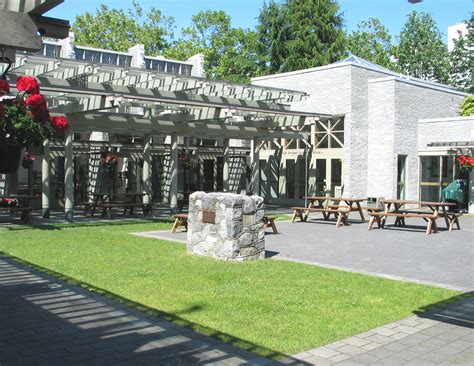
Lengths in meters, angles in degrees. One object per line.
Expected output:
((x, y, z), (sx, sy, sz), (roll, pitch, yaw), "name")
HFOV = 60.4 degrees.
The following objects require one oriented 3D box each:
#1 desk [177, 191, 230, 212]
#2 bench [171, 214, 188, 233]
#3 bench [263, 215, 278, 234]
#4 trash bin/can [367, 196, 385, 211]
((-1.582, 0.899, 19.838), (2.557, 1.045, 1.497), (1, -7, -3), "desk")
((-1.691, 1.200, 12.147), (0.614, 0.535, 0.593), (-2, -3, 45), "bench")
((0.979, 1.251, 12.047), (0.378, 0.301, 0.868), (-2, 1, -14), "bench")
((5.802, 0.897, 17.052), (0.721, 0.660, 0.498), (-4, -5, 23), "trash bin/can")
